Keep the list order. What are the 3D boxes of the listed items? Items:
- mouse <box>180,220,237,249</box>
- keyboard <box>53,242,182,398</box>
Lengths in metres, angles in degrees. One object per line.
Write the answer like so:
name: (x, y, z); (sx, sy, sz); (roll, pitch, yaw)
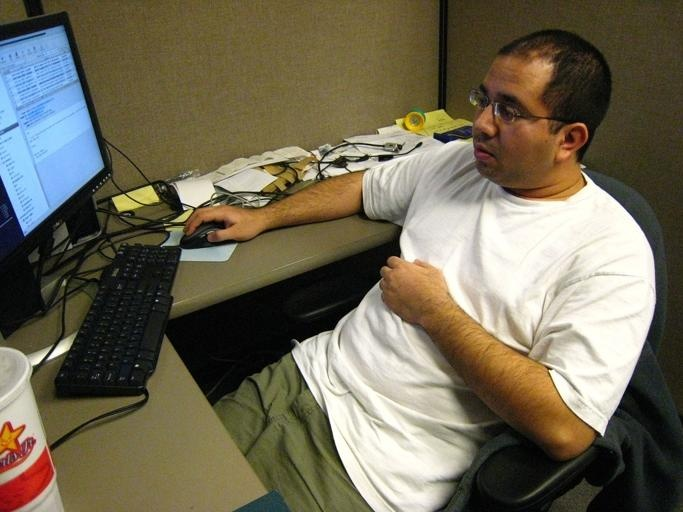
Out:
mouse: (-0.388, -0.055, 1.546); (0.101, 0.037, 0.067); (-20, 33, -35)
keyboard: (-0.478, 0.124, 1.285); (0.173, 0.060, 0.497); (1, 33, -8)
